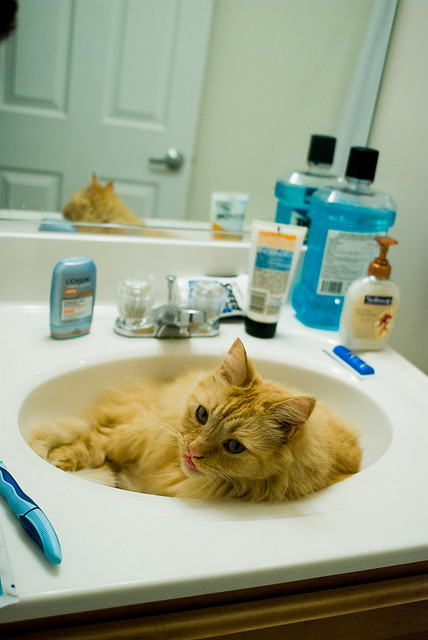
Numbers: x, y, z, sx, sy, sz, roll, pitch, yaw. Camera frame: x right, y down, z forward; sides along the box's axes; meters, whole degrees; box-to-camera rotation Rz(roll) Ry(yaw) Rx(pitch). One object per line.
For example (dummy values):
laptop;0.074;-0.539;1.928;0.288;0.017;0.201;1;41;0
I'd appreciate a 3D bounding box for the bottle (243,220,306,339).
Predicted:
bottle;0.089;-0.061;0.814;0.078;0.180;0.051;8;19;3

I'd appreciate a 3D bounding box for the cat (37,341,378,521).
cat;-0.010;0.126;0.603;0.315;0.141;0.197;11;27;-2

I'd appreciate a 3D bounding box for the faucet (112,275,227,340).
faucet;-0.068;-0.026;0.810;0.186;0.091;0.096;1;10;-14
